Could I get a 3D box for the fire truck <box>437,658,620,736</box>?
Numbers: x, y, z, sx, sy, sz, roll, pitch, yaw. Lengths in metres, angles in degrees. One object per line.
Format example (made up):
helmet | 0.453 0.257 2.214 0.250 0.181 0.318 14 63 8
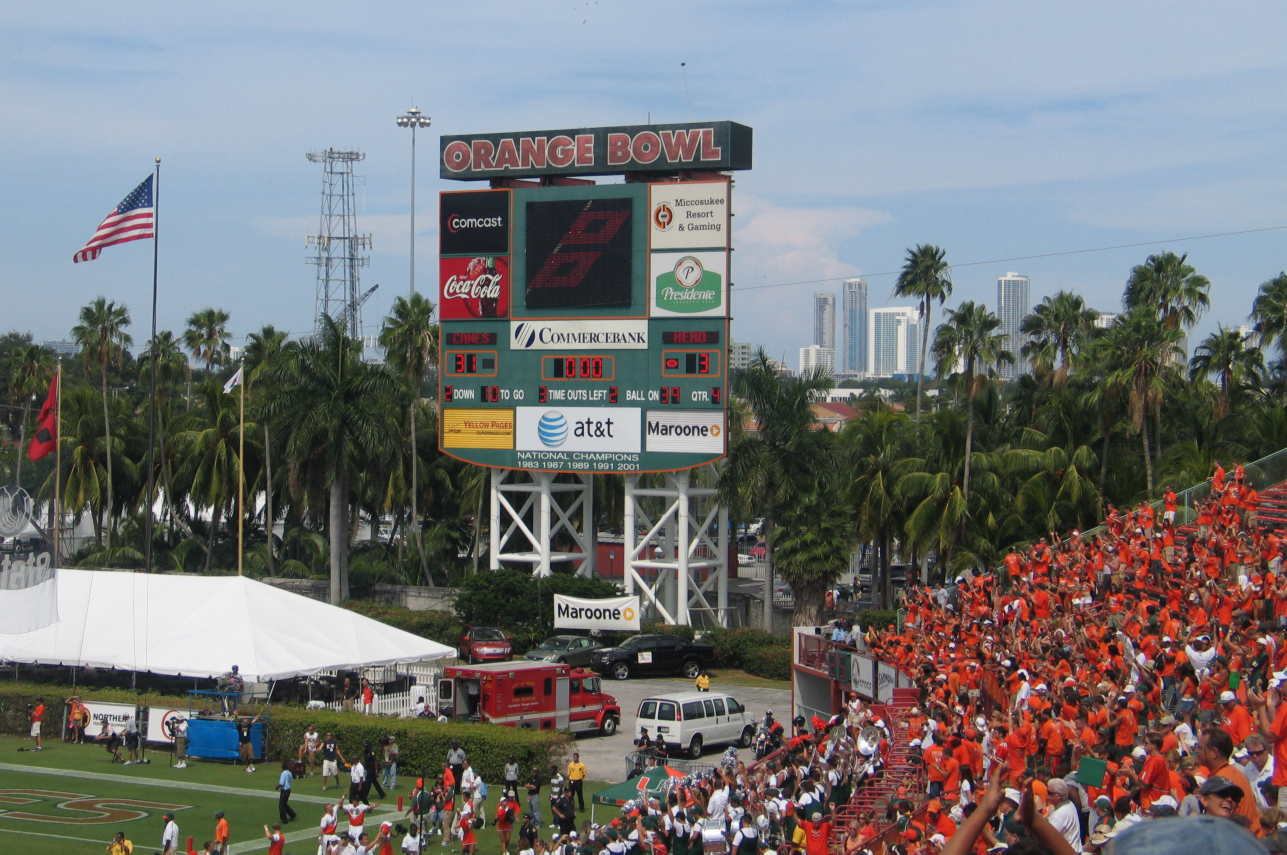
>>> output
fire truck | -4.822 12.671 124.583 8.218 3.336 3.999 0 0 -40
